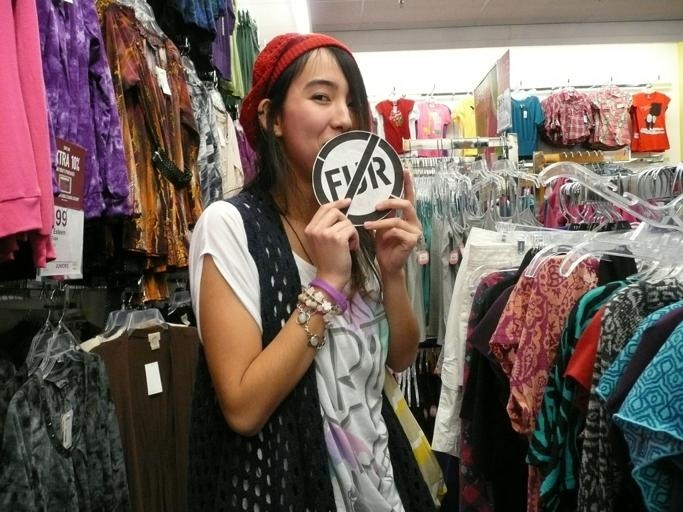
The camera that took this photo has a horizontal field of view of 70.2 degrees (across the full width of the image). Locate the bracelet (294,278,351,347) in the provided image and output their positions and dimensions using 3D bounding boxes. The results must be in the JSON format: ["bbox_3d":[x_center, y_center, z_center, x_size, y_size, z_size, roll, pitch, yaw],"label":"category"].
[{"bbox_3d":[-0.049,0.146,1.190,0.126,0.172,0.058,-5,11,-20],"label":"bracelet"}]
